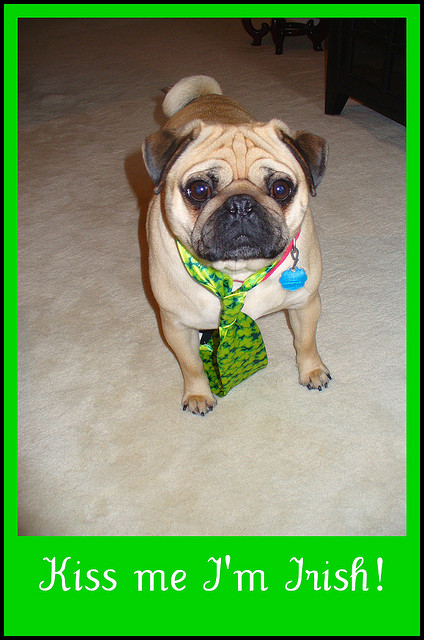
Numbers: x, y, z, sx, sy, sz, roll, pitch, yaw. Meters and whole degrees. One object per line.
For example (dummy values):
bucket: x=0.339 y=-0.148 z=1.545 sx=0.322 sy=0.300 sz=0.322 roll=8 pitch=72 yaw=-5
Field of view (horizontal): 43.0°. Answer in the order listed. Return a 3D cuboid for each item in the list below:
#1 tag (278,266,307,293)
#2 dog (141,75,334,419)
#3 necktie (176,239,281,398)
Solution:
tag: x=0.233 y=-0.121 z=1.566 sx=0.075 sy=0.075 sz=0.010 roll=-9 pitch=30 yaw=2
dog: x=0.077 y=-0.300 z=1.944 sx=0.537 sy=0.947 sz=1.307 roll=-6 pitch=32 yaw=-1
necktie: x=0.076 y=0.062 z=1.811 sx=0.255 sy=0.594 sz=0.118 roll=-4 pitch=45 yaw=3
